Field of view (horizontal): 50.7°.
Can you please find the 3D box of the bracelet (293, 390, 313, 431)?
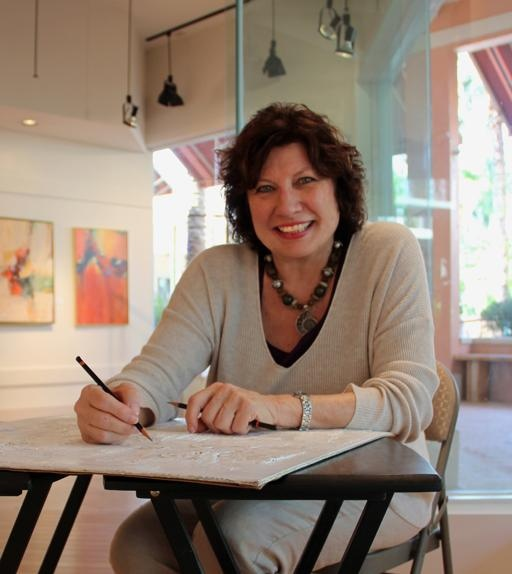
[{"bbox_3d":[0.079,0.195,0.882,0.032,0.056,0.051,2,27,-9],"label":"bracelet"}]
